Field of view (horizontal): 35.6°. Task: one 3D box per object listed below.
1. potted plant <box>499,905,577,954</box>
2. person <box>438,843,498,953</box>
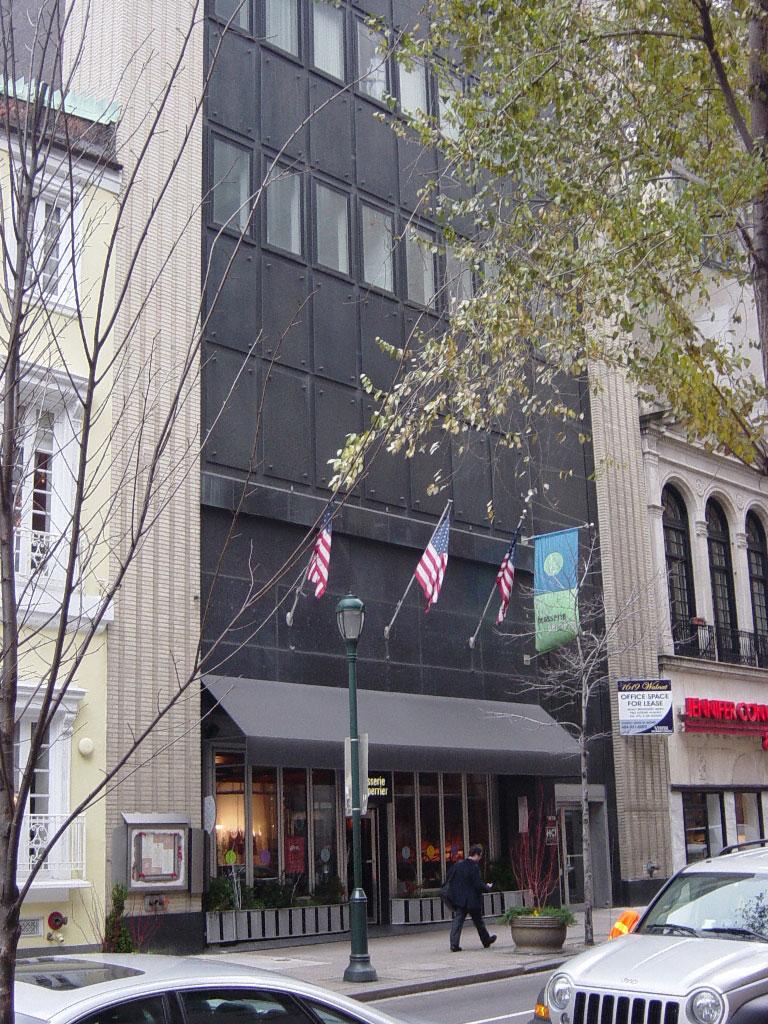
[{"bbox_3d":[2.302,6.246,17.893,0.653,0.507,0.684,-19,-31,38],"label":"potted plant"},{"bbox_3d":[1.374,6.221,19.331,0.719,1.616,1.730,-3,-16,5],"label":"person"}]
